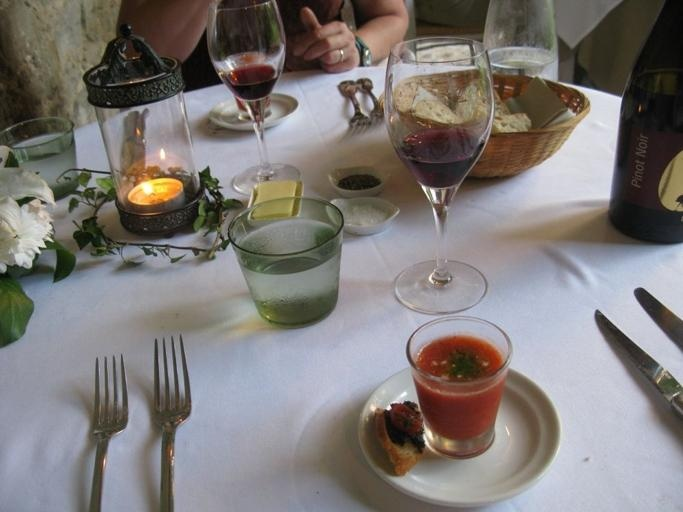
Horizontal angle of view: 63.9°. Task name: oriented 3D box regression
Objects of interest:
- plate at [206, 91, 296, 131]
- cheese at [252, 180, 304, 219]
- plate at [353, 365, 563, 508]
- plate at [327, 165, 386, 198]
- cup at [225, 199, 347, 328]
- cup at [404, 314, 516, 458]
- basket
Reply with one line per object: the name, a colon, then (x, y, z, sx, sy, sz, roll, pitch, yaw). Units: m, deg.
plate: (-0.232, -0.421, 1.427, 0.219, 0.126, 0.187, -14, 28, -25)
cheese: (-0.101, -0.094, 0.904, 0.090, 0.075, 0.071, -4, 26, 0)
plate: (0.139, 0.211, 0.661, 0.235, 0.027, 0.168, -1, 40, 7)
plate: (0.031, -0.149, 1.104, 0.106, 0.071, 0.104, -14, 21, -27)
cup: (-0.082, 0.008, 0.845, 0.167, 0.160, 0.192, -8, 34, -4)
cup: (0.131, 0.148, 0.656, 0.109, 0.196, 0.097, -5, 35, -2)
basket: (0.325, -0.238, 1.121, 0.274, 0.232, 0.253, -5, 24, -6)
